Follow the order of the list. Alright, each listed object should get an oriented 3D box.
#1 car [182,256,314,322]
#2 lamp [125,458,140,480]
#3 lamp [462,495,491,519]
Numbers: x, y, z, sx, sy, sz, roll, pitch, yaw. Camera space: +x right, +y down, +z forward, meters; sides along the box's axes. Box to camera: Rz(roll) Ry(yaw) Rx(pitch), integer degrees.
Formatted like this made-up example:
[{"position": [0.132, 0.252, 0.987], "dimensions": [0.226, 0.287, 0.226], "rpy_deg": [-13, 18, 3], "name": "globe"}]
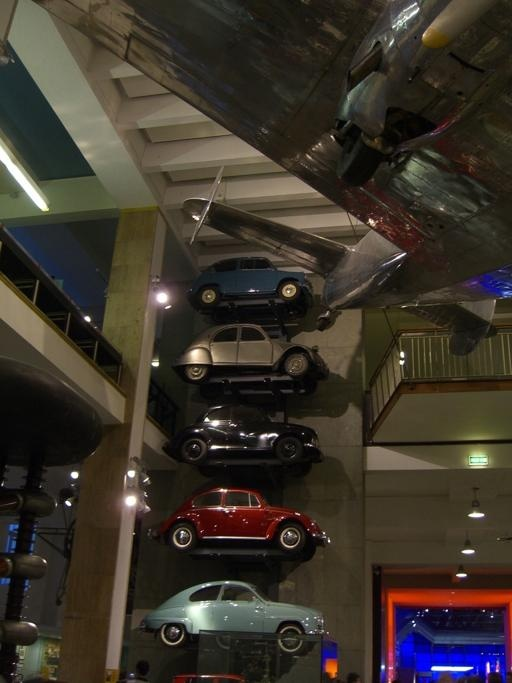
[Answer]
[{"position": [-0.099, -1.114, 13.854], "dimensions": [2.498, 0.949, 1.279], "rpy_deg": [-1, -13, 6], "name": "car"}, {"position": [-1.976, 2.063, 10.213], "dimensions": [0.205, 0.359, 0.186], "rpy_deg": [0, -25, 2], "name": "lamp"}, {"position": [4.053, 3.090, 11.654], "dimensions": [0.539, 0.462, 0.463], "rpy_deg": [6, -12, -23], "name": "lamp"}]
